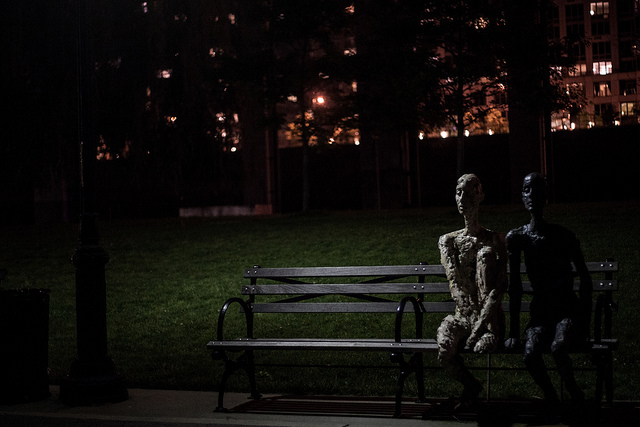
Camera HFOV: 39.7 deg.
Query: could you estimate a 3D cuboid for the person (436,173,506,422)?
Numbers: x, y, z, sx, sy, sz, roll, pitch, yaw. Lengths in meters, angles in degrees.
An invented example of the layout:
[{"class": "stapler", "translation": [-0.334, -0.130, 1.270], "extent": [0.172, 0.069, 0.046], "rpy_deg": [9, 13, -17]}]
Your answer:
[{"class": "person", "translation": [1.988, 1.095, 11.656], "extent": [0.912, 3.229, 0.520], "rpy_deg": [-3, 2, 11]}]
